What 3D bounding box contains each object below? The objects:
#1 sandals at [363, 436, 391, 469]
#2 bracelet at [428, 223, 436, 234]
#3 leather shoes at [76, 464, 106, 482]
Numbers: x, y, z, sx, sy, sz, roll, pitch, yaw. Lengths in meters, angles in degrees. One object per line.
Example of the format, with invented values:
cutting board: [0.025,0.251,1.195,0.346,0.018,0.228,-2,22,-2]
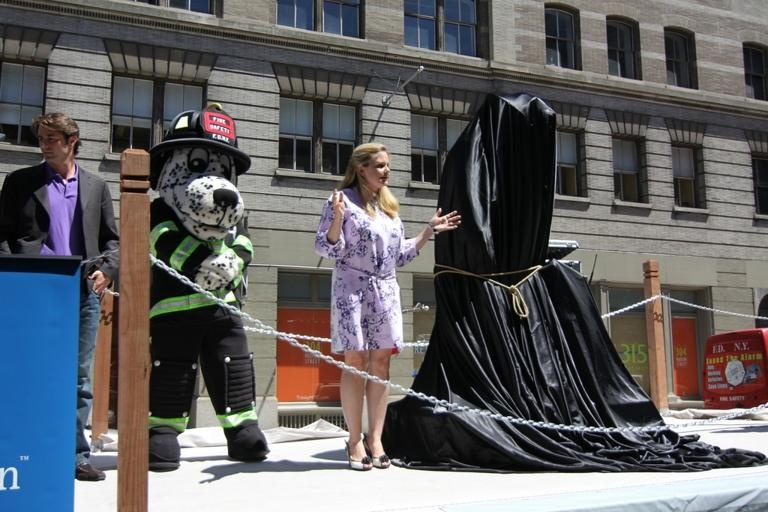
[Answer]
sandals: [-0.133,3.093,23.942,0.264,0.636,0.161,-9,-46,-29]
bracelet: [0.775,-0.456,23.971,0.050,0.140,0.059,-27,-17,-47]
leather shoes: [-4.462,3.311,23.453,0.447,0.167,0.230,1,-1,-5]
